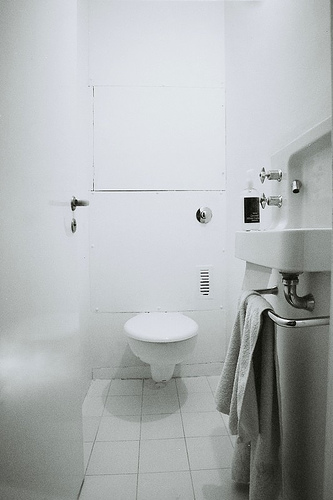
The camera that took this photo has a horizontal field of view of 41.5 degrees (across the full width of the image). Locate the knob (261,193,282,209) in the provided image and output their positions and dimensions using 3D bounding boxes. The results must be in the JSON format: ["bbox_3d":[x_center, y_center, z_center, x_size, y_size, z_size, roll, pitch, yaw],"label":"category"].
[{"bbox_3d":[0.268,-0.128,1.117,0.040,0.029,0.025,0,-3,7],"label":"knob"}]

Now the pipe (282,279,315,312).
[{"bbox_3d":[0.324,0.109,1.090,0.066,0.104,0.048,-8,16,0],"label":"pipe"}]

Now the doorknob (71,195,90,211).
[{"bbox_3d":[-0.222,-0.121,1.117,0.032,0.031,0.034,1,39,-1],"label":"doorknob"}]

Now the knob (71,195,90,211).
[{"bbox_3d":[-0.222,-0.119,1.117,0.032,0.035,0.030,1,-34,0],"label":"knob"}]

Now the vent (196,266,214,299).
[{"bbox_3d":[0.103,0.086,1.175,0.045,0.101,0.009,2,26,11],"label":"vent"}]

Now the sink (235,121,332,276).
[{"bbox_3d":[0.286,-0.125,1.073,0.167,0.356,0.225,-3,8,-16],"label":"sink"}]

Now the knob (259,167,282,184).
[{"bbox_3d":[0.269,-0.191,1.131,0.052,0.035,0.021,3,9,18],"label":"knob"}]
